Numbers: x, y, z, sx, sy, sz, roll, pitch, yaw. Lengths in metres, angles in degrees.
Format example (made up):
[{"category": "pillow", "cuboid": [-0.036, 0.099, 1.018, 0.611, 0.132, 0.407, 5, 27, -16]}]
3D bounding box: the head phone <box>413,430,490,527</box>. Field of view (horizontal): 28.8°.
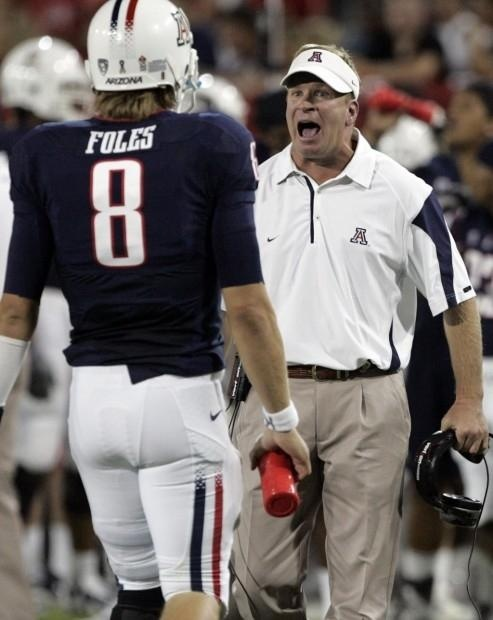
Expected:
[{"category": "head phone", "cuboid": [0.649, 0.543, 3.162, 0.285, 0.289, 0.200, -4, 10, -6]}]
